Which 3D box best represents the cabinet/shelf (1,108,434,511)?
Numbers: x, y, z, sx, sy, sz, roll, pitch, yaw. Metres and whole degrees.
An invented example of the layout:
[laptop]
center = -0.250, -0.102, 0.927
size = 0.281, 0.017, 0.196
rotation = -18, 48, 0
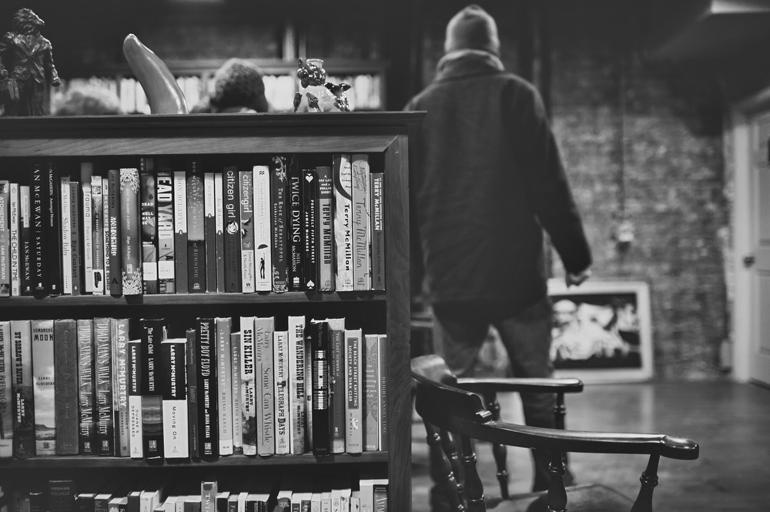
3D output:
[cabinet/shelf]
center = -0.685, 0.189, 5.003
size = 1.584, 1.507, 0.599
rotation = 0, -2, -1
